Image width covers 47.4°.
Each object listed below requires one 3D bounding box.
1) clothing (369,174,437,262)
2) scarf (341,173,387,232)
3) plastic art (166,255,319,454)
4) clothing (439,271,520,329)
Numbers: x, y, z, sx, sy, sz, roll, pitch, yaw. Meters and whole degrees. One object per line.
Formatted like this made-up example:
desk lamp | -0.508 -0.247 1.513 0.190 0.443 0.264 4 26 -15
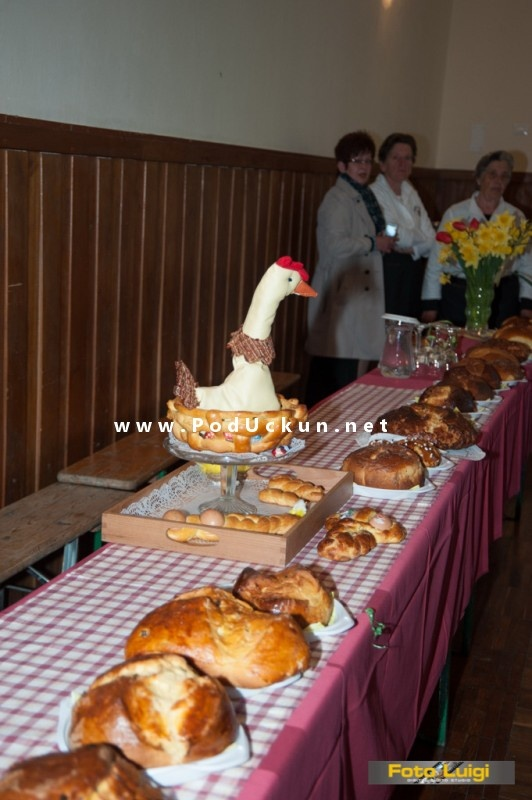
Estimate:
clothing | 0.917 -1.197 3.951 0.477 0.579 0.241 -15 1 -44
scarf | 0.600 -1.190 3.664 0.313 0.360 0.142 -5 10 -27
plastic art | -0.042 -0.126 1.227 0.361 0.428 0.311 2 21 1
clothing | 1.354 -0.612 3.996 0.491 0.517 0.477 -1 12 2
